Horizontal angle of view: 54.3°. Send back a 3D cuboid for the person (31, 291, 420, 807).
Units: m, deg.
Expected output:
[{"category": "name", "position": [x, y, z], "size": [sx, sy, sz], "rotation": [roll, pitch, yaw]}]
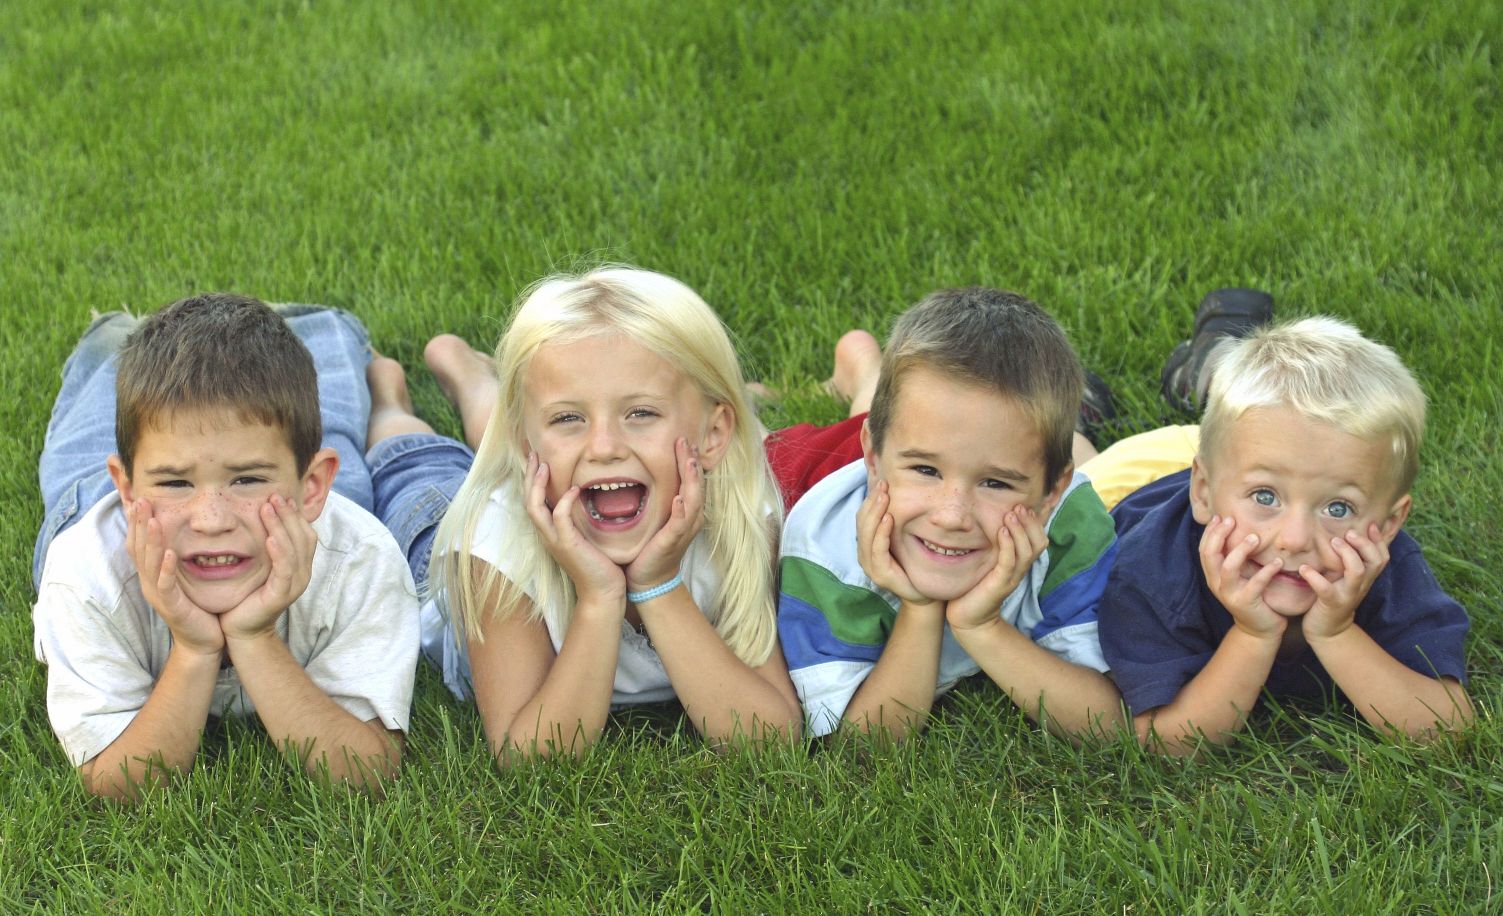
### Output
[{"category": "person", "position": [-1.898, 0.333, 5.194], "size": [1.300, 1.554, 0.947], "rotation": [-7, 26, -10]}]
